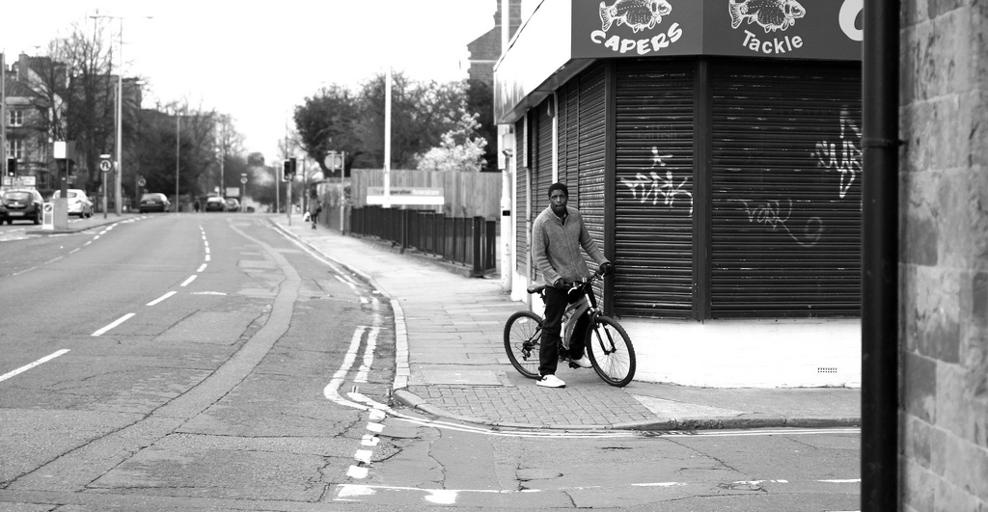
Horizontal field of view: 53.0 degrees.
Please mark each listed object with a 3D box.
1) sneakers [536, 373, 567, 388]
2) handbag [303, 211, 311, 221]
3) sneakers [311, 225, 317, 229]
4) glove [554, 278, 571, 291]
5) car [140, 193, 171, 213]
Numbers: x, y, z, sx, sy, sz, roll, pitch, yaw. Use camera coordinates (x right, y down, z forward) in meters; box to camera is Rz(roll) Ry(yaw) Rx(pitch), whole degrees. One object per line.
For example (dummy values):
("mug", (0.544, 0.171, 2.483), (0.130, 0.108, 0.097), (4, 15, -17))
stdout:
("sneakers", (0.902, 1.930, 15.385), (0.448, 0.169, 0.186), (-1, -2, 27))
("handbag", (-11.820, -2.475, 62.709), (0.504, 0.770, 0.868), (-1, 3, -23))
("sneakers", (-9.535, -1.529, 52.473), (0.308, 0.105, 0.094), (4, -7, 10))
("glove", (1.062, 0.435, 15.268), (0.243, 0.100, 0.168), (-5, 7, -14))
("car", (-27.114, -4.132, 79.122), (1.921, 1.222, 4.064), (-1, 7, -11))
